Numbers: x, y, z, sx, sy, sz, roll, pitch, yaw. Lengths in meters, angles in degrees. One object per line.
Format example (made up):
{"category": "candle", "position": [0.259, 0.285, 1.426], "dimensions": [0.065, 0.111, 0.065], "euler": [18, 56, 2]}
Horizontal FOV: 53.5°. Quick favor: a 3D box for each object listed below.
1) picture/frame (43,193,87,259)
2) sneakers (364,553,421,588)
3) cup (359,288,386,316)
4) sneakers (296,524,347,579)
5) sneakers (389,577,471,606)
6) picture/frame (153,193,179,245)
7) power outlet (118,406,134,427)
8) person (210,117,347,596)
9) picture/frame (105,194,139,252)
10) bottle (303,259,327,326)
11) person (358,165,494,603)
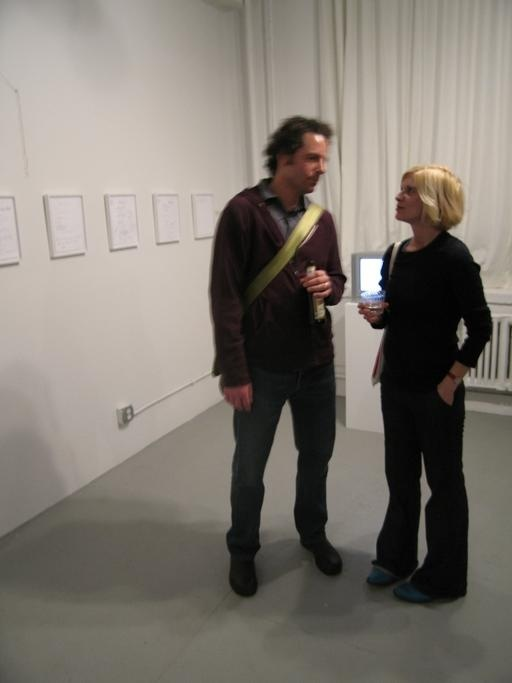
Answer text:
{"category": "picture/frame", "position": [-0.950, -0.563, 2.526], "dimensions": [0.060, 0.275, 0.266], "euler": [3, 13, 17]}
{"category": "sneakers", "position": [0.458, 0.830, 1.809], "dimensions": [0.163, 0.041, 0.077], "euler": [-15, 25, -37]}
{"category": "cup", "position": [0.382, -0.126, 1.664], "dimensions": [0.071, 0.072, 0.072], "euler": [0, 7, 0]}
{"category": "sneakers", "position": [0.263, 0.819, 1.953], "dimensions": [0.071, 0.089, 0.215], "euler": [-11, 2, -14]}
{"category": "sneakers", "position": [0.600, 0.840, 1.764], "dimensions": [0.248, 0.113, 0.087], "euler": [6, 3, 2]}
{"category": "picture/frame", "position": [-0.596, -0.803, 3.311], "dimensions": [0.041, 0.323, 0.311], "euler": [3, 13, 20]}
{"category": "power outlet", "position": [-0.783, 0.455, 3.049], "dimensions": [0.069, 0.126, 0.123], "euler": [1, -4, 3]}
{"category": "person", "position": [0.101, 0.077, 1.783], "dimensions": [0.466, 1.625, 0.443], "euler": [-2, 7, 3]}
{"category": "picture/frame", "position": [-0.762, -0.700, 2.945], "dimensions": [0.295, 0.287, 0.034], "euler": [9, 15, 39]}
{"category": "bottle", "position": [0.205, -0.155, 1.646], "dimensions": [0.103, 0.180, 0.055], "euler": [-9, 10, -44]}
{"category": "person", "position": [0.546, 0.178, 1.639], "dimensions": [0.392, 1.421, 0.295], "euler": [2, 8, 29]}
